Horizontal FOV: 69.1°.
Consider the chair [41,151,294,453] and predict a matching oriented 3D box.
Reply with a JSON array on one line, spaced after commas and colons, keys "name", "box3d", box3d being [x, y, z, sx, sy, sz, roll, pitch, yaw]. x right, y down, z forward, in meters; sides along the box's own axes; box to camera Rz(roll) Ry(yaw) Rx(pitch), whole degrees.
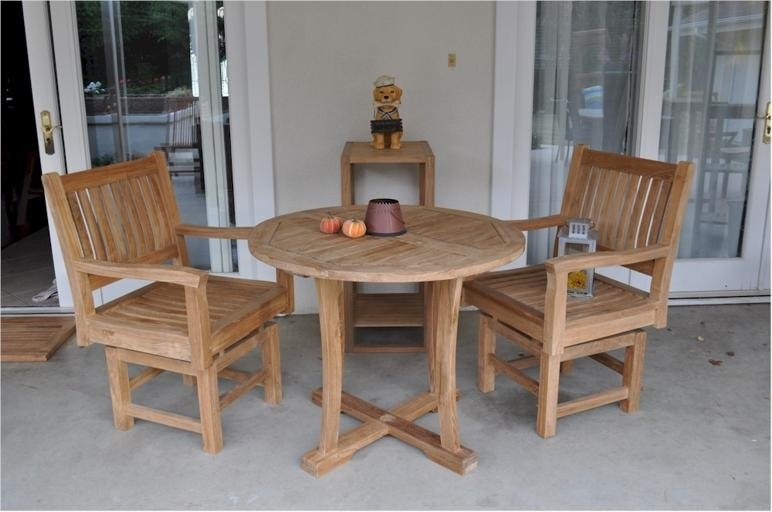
[{"name": "chair", "box3d": [-1.059, 0.214, 2.983, 0.898, 1.244, 0.838, 14, 20, 12]}]

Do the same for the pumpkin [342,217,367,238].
[{"name": "pumpkin", "box3d": [-0.146, -0.135, 2.698, 0.106, 0.087, 0.101, 2, 2, 20]}]

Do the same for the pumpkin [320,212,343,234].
[{"name": "pumpkin", "box3d": [-0.268, -0.160, 2.827, 0.112, 0.099, 0.111, -9, -6, 41]}]
